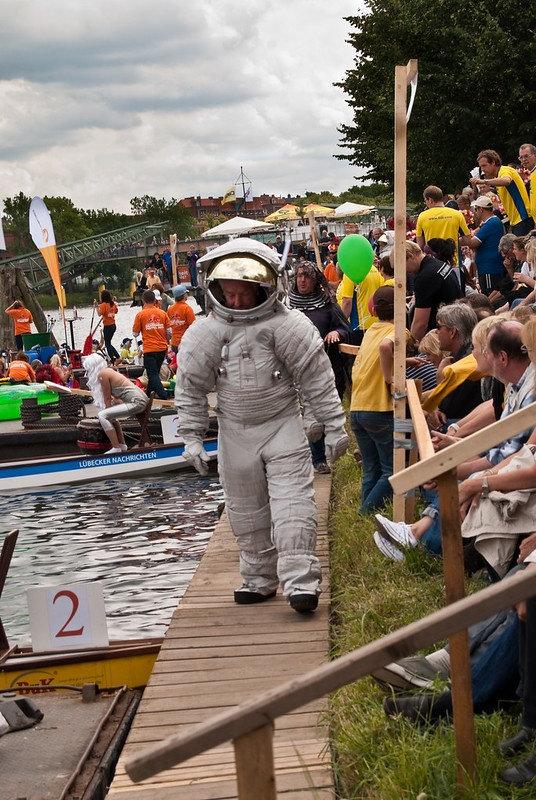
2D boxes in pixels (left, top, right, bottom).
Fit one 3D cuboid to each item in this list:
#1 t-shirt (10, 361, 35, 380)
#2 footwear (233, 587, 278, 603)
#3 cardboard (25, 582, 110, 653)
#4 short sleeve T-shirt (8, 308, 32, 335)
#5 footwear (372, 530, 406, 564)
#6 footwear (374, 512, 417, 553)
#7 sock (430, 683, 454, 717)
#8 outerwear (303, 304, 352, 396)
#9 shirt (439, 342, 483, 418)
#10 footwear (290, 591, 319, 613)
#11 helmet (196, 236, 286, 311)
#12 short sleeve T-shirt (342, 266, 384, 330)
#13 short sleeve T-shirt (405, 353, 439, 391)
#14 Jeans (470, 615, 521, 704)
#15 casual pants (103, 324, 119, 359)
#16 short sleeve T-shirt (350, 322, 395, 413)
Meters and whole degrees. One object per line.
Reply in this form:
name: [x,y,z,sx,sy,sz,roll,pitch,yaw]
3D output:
t-shirt: [-5.287,-0.627,15.283,0.418,0.411,0.232,-3,40,-11]
footwear: [-0.076,1.212,4.446,0.255,0.094,0.086,5,0,-19]
cardboard: [-1.197,1.309,4.276,0.480,0.035,0.396,6,53,-33]
short sleeve T-shirt: [-7.169,-2.278,20.663,0.604,0.839,0.966,-12,13,-19]
footwear: [0.753,0.933,4.522,0.084,0.091,0.239,-32,63,-28]
footwear: [0.818,0.809,4.414,0.169,0.114,0.343,-23,39,-21]
sock: [0.586,1.006,2.342,0.064,0.094,0.056,-16,15,-32]
outerwear: [0.542,-0.588,7.471,0.603,0.359,1.167,-7,54,2]
shirt: [1.310,-0.126,4.907,0.472,0.182,0.350,-48,-5,-3]
footwear: [0.204,1.146,4.027,0.102,0.194,0.092,3,54,-4]
helmet: [-0.160,-0.762,4.437,0.491,0.404,0.510,3,23,8]
short sleeve T-shirt: [1.238,-1.403,9.470,0.500,0.820,0.791,8,19,43]
short sleeve T-shirt: [1.159,-0.220,5.355,0.313,0.286,0.233,8,12,33]
Jeans: [0.771,0.889,2.418,0.161,0.321,0.149,-5,14,14]
casual pants: [-4.560,-1.690,20.720,0.390,1.116,1.231,-11,13,-11]
short sleeve T-shirt: [0.847,-0.283,5.605,0.303,0.650,0.425,7,-1,-25]
